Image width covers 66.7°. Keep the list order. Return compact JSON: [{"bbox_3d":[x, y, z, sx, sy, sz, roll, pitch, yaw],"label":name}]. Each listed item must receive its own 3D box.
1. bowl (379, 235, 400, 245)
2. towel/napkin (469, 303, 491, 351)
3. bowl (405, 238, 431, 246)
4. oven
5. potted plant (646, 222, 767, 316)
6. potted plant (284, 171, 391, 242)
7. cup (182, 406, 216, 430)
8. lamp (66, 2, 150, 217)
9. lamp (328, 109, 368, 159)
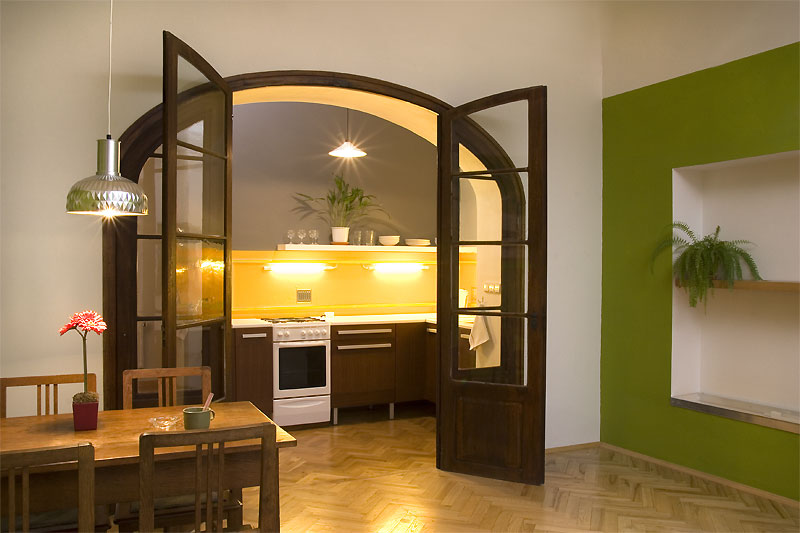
[{"bbox_3d":[-0.130,-0.331,7.574,0.168,0.085,0.167,-2,0,0],"label":"bowl"},{"bbox_3d":[0.704,0.582,5.349,0.178,0.299,0.041,1,6,7],"label":"towel/napkin"},{"bbox_3d":[0.233,-0.323,7.857,0.285,0.081,0.403,1,7,9],"label":"bowl"},{"bbox_3d":[-1.151,1.156,6.798,0.768,1.065,0.805,0,1,-34],"label":"oven"},{"bbox_3d":[2.717,0.019,5.395,0.753,0.527,0.767,0,-1,41],"label":"potted plant"},{"bbox_3d":[-0.683,-0.734,7.559,1.276,0.858,0.731,-2,7,-15],"label":"potted plant"},{"bbox_3d":[-1.204,0.899,3.649,0.176,0.125,0.133,4,-7,-36],"label":"cup"},{"bbox_3d":[-2.062,-1.185,4.205,0.524,1.720,1.450,-3,7,-28],"label":"lamp"},{"bbox_3d":[-0.672,-1.695,7.610,0.492,0.674,0.970,0,6,-3],"label":"lamp"}]
